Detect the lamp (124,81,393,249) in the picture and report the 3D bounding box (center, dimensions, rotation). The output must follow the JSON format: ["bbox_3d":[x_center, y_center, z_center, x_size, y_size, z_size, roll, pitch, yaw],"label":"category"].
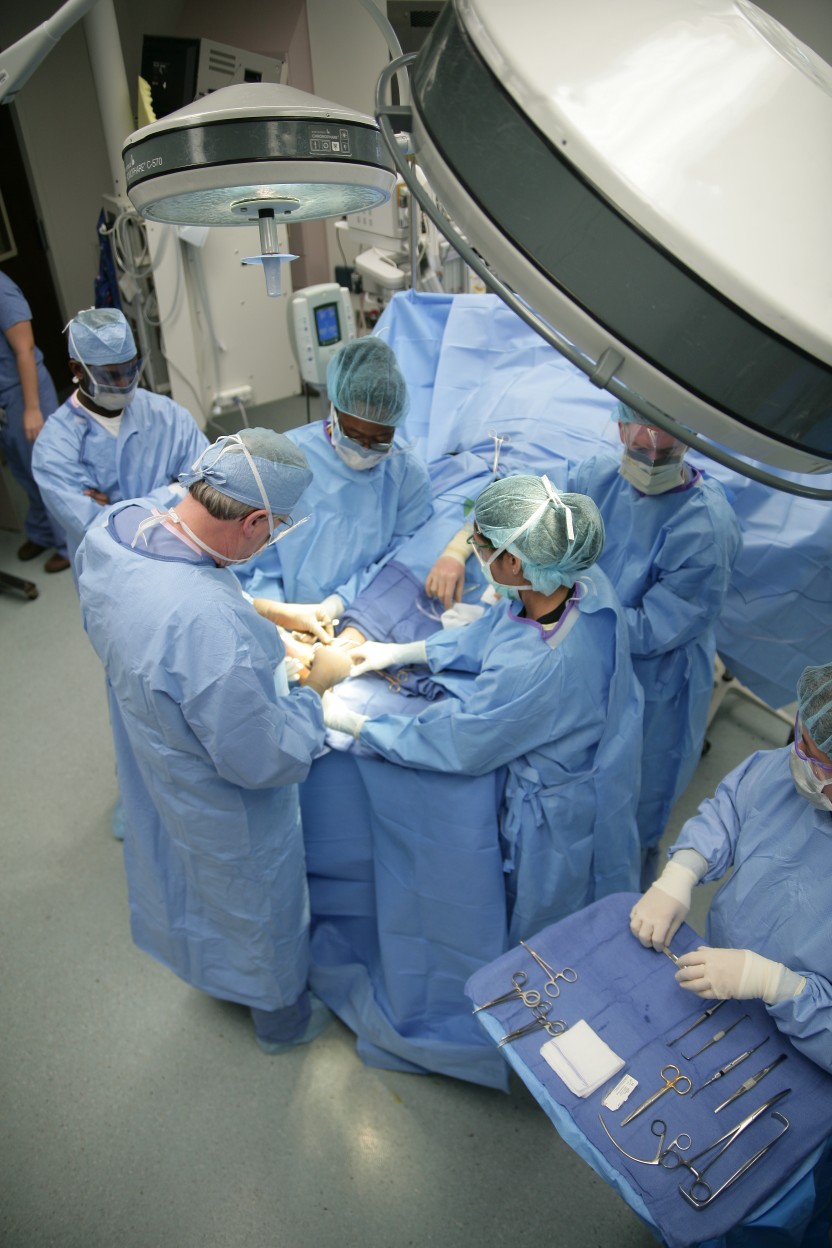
[{"bbox_3d":[-0.224,-0.675,1.376,0.390,0.195,0.370,-10,29,-12],"label":"lamp"}]

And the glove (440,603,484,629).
[{"bbox_3d":[0.099,-0.017,2.059,0.071,0.022,0.050,-2,28,30],"label":"glove"}]

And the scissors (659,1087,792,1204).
[{"bbox_3d":[0.376,0.624,1.127,0.180,0.015,0.061,-29,31,-24],"label":"scissors"}]

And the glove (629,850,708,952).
[{"bbox_3d":[0.375,0.405,1.415,0.066,0.056,0.187,-4,15,28],"label":"glove"}]

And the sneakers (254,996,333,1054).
[{"bbox_3d":[-0.257,0.820,1.950,0.127,0.098,0.050,-26,-9,-8],"label":"sneakers"}]

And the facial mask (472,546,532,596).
[{"bbox_3d":[0.148,-0.096,1.614,0.053,0.091,0.085,-10,25,-19],"label":"facial mask"}]

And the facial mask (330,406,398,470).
[{"bbox_3d":[-0.123,-0.384,2.061,0.108,0.076,0.134,6,61,-29],"label":"facial mask"}]

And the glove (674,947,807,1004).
[{"bbox_3d":[0.441,0.457,1.252,0.135,0.042,0.074,8,33,18],"label":"glove"}]

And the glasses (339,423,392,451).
[{"bbox_3d":[-0.103,-0.403,2.039,0.068,0.025,0.070,11,11,-25],"label":"glasses"}]

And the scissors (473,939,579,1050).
[{"bbox_3d":[0.149,0.505,1.281,0.118,0.031,0.151,6,29,17],"label":"scissors"}]

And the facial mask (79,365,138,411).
[{"bbox_3d":[-0.745,-0.600,2.285,0.101,0.093,0.119,-20,67,-31],"label":"facial mask"}]
